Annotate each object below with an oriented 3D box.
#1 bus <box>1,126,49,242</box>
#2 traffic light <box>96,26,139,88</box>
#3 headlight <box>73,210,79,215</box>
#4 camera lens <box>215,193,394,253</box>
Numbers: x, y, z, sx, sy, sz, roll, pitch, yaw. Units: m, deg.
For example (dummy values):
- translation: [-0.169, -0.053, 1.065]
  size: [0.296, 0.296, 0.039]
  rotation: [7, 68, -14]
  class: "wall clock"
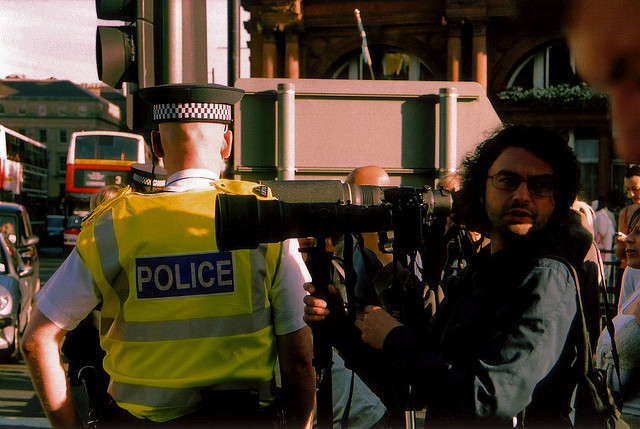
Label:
- translation: [-7.366, -0.625, 26.910]
  size: [0.348, 2.871, 7.667]
  rotation: [-1, 2, -9]
  class: "bus"
- translation: [-1.849, -1.451, 9.826]
  size: [0.374, 0.576, 0.394]
  rotation: [-1, 1, -12]
  class: "traffic light"
- translation: [-5.712, -0.046, 25.076]
  size: [0.110, 0.105, 0.027]
  rotation: [2, 2, -6]
  class: "headlight"
- translation: [-0.025, 0.054, 7.300]
  size: [1.297, 0.409, 0.416]
  rotation: [-1, 1, -11]
  class: "camera lens"
